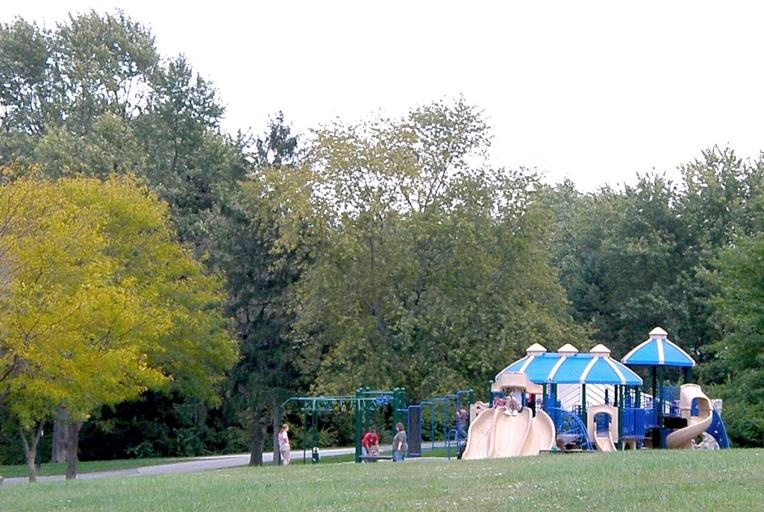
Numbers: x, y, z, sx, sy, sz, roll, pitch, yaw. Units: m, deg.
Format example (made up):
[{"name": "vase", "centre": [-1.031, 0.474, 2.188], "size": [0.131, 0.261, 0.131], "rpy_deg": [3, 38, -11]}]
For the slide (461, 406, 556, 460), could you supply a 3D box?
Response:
[{"name": "slide", "centre": [7.265, 10.478, 83.053], "size": [6.407, 3.495, 3.885], "rpy_deg": [-2, -2, -1]}]

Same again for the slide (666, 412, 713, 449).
[{"name": "slide", "centre": [17.699, 9.929, 84.033], "size": [1.922, 2.556, 2.114], "rpy_deg": [9, -8, 24]}]
